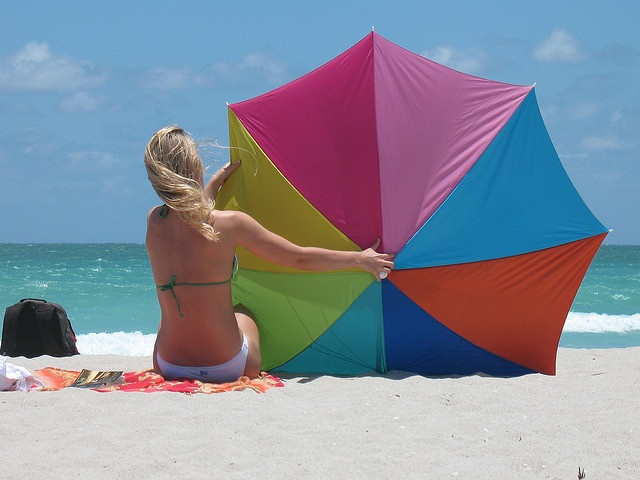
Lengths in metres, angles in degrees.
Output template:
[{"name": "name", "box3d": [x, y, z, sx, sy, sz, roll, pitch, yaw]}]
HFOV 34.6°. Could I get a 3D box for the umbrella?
[{"name": "umbrella", "box3d": [1.222, -0.303, 13.710, 3.931, 4.194, 1.381, 0, -11, 3]}]
